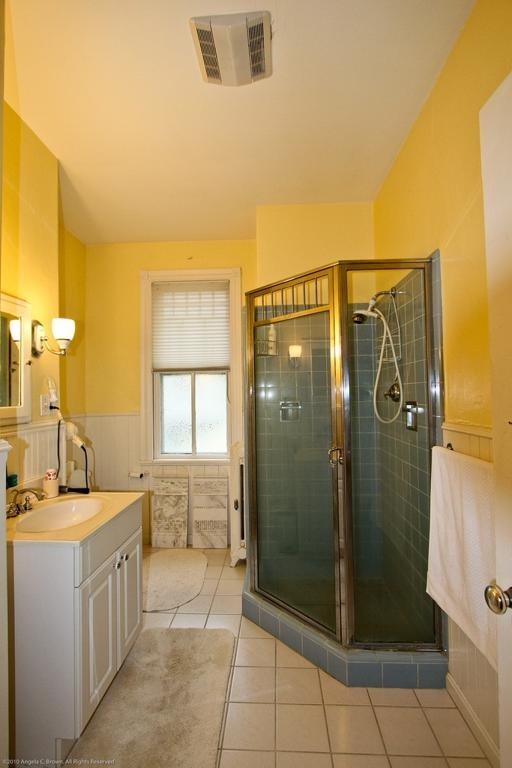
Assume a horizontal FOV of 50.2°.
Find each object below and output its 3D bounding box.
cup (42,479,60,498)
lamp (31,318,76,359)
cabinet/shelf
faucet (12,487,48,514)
[{"bbox_3d":[-0.965,0.492,2.573,0.063,0.093,0.073,-2,7,-29],"label":"cup"},{"bbox_3d":[-1.037,-0.232,2.773,0.157,0.264,0.168,0,-3,9],"label":"lamp"},{"bbox_3d":[-0.660,0.849,2.087,0.239,0.667,0.597,0,3,9],"label":"cabinet/shelf"},{"bbox_3d":[-1.010,0.516,2.390,0.088,0.068,0.074,-3,2,24],"label":"faucet"}]
